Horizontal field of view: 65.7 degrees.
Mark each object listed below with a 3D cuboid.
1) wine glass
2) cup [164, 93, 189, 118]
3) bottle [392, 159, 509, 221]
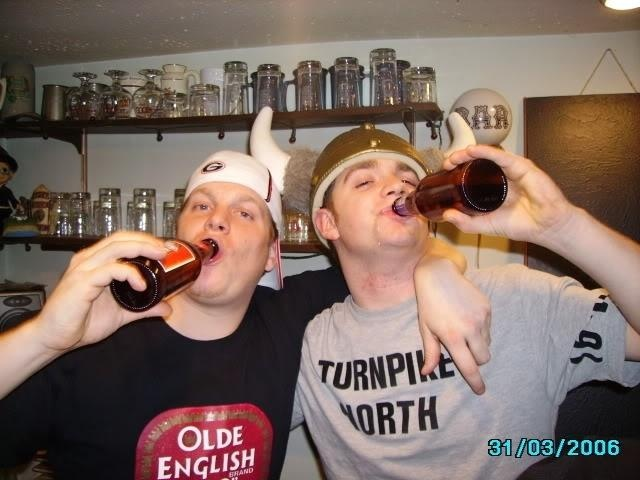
[{"bbox_3d":[-1.078,-0.764,2.653,0.407,0.174,0.130,0,3,8],"label":"wine glass"},{"bbox_3d":[-0.758,-0.697,2.621,0.129,0.131,0.154,-1,10,-12],"label":"cup"},{"bbox_3d":[0.365,-0.147,1.454,0.161,0.192,0.373,-12,16,-39],"label":"bottle"}]
